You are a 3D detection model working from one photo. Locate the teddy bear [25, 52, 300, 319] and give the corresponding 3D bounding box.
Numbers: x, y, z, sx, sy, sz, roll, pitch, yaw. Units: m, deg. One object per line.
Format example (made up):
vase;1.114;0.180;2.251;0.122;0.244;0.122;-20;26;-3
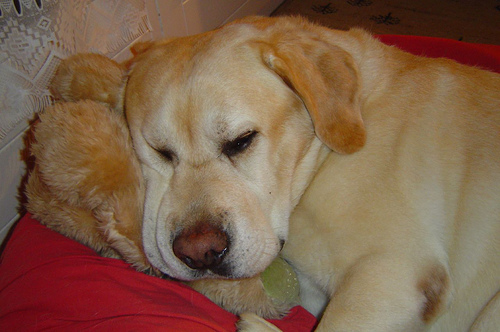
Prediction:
teddy bear;-0.398;-0.020;2.802;1.514;1.116;0.559;36;59;-21
